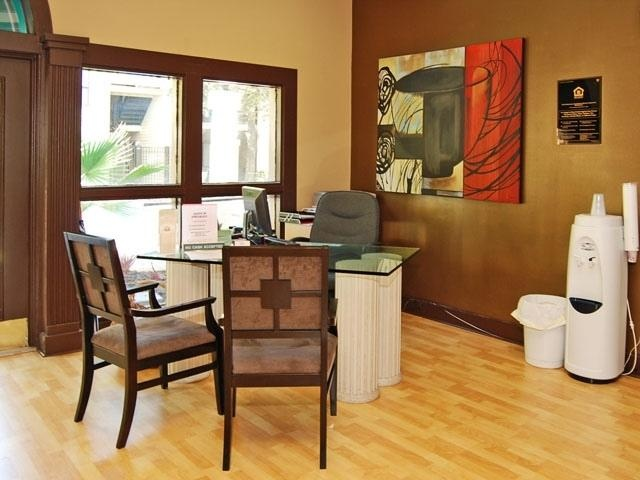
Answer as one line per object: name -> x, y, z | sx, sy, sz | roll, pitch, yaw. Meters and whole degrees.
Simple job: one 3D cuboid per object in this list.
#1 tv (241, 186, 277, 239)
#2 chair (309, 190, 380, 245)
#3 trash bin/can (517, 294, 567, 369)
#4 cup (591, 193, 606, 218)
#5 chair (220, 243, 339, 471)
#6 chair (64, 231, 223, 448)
tv -> -0.511, -0.234, 4.342 | 0.175, 0.474, 0.484 | -12, 15, -31
chair -> 0.331, -0.211, 5.073 | 0.497, 0.683, 0.579 | 2, 2, 14
trash bin/can -> 1.811, 0.745, 4.240 | 0.389, 0.479, 0.465 | -4, 7, -44
cup -> 2.043, -0.257, 3.874 | 0.086, 0.148, 0.158 | 7, 14, 24
chair -> -0.227, 0.608, 2.980 | 0.656, 1.220, 0.502 | 1, 13, 0
chair -> -1.091, 0.572, 3.357 | 0.732, 1.164, 0.832 | 7, 6, 44
